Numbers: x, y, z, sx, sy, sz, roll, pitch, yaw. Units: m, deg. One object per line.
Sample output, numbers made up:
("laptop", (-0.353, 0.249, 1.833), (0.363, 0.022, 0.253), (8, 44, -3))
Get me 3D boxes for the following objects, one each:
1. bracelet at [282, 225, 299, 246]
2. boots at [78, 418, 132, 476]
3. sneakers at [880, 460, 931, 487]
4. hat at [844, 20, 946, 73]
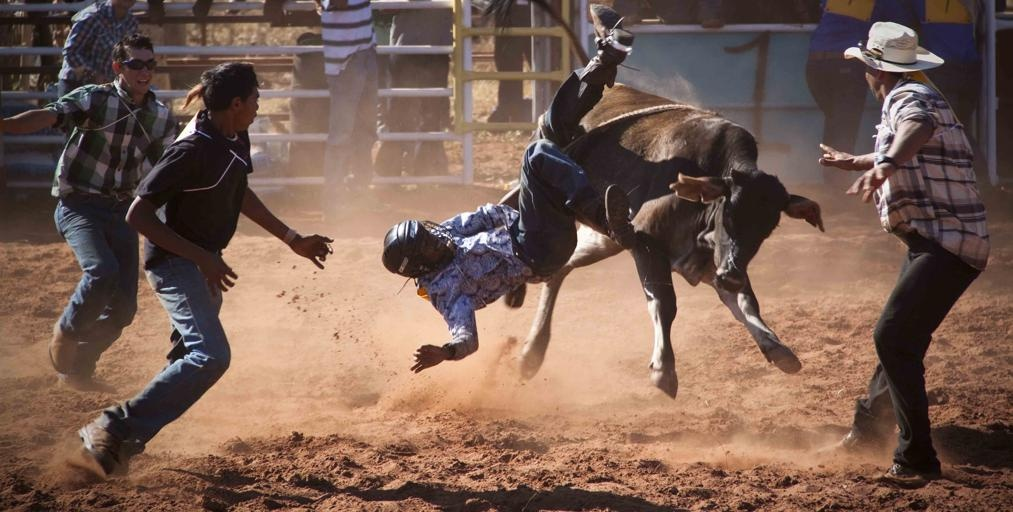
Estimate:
("bracelet", (-2.202, -0.195, 10.836), (0.164, 0.113, 0.161), (-27, 9, 26))
("boots", (-3.827, 1.840, 10.089), (0.312, 0.685, 0.315), (-19, 55, 6))
("sneakers", (3.897, 2.132, 10.362), (0.512, 0.197, 0.177), (9, 7, 4))
("hat", (3.844, -2.096, 10.570), (0.930, 0.365, 0.942), (-5, 21, -12))
